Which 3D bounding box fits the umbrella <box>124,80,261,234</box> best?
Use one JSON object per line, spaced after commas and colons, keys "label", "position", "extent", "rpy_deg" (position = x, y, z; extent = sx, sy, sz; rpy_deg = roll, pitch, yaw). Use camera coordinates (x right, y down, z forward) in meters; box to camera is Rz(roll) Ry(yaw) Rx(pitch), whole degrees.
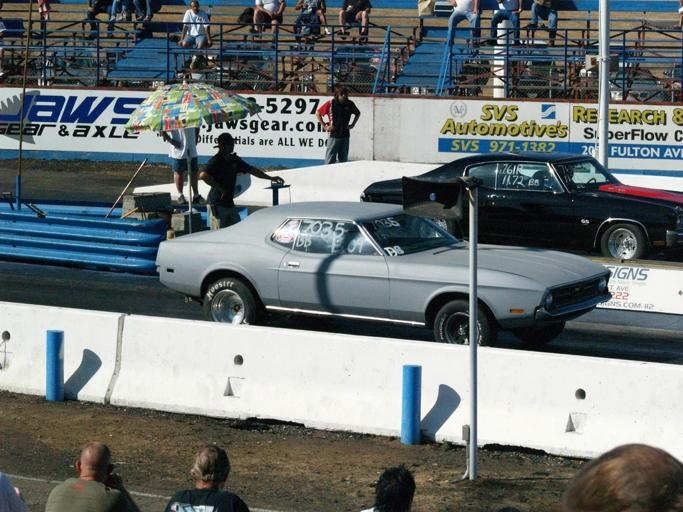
{"label": "umbrella", "position": [-2.862, -2.138, 33.921], "extent": [2.285, 1.882, 2.183], "rpy_deg": [-7, 12, -8]}

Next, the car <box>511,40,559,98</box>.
{"label": "car", "position": [4.735, -4.387, 42.743], "extent": [1.545, 1.396, 0.974], "rpy_deg": [-1, -3, -1]}

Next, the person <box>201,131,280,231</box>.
{"label": "person", "position": [-1.985, -1.294, 32.835], "extent": [0.957, 1.979, 0.786], "rpy_deg": [1, 2, 24]}

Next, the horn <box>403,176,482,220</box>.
{"label": "horn", "position": [1.491, -0.836, 26.610], "extent": [1.061, 0.605, 0.257], "rpy_deg": [3, 8, 0]}

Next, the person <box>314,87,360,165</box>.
{"label": "person", "position": [0.001, -2.690, 39.280], "extent": [0.955, 2.132, 0.527], "rpy_deg": [-10, 33, -14]}

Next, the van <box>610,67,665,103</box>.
{"label": "van", "position": [7.185, -4.011, 42.235], "extent": [1.397, 0.753, 1.963], "rpy_deg": [4, 8, 8]}

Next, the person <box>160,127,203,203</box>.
{"label": "person", "position": [-3.201, -2.103, 36.556], "extent": [0.812, 2.129, 0.717], "rpy_deg": [-4, 1, -14]}

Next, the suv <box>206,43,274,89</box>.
{"label": "suv", "position": [-2.423, -4.699, 44.678], "extent": [1.842, 0.848, 0.980], "rpy_deg": [2, 18, 5]}

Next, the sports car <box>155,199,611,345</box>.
{"label": "sports car", "position": [0.666, 0.270, 29.941], "extent": [7.027, 2.031, 1.564], "rpy_deg": [5, 9, 17]}

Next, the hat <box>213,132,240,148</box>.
{"label": "hat", "position": [-2.121, -2.076, 32.785], "extent": [0.459, 0.279, 0.629], "rpy_deg": [-4, 2, -2]}
